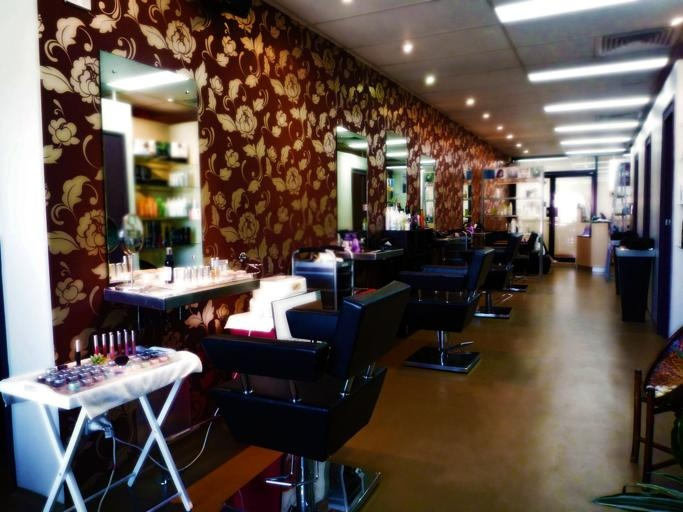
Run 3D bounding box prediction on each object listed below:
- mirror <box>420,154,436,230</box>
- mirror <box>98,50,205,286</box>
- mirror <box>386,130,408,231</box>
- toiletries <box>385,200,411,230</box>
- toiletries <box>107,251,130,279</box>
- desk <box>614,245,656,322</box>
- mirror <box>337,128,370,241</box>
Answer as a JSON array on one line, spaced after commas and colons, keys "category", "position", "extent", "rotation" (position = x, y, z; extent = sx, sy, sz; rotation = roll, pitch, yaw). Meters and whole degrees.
[{"category": "mirror", "position": [1.368, -0.976, 8.209], "extent": [0.098, 1.264, 0.273], "rotation": [-18, 26, -29]}, {"category": "mirror", "position": [-1.342, -0.520, 3.858], "extent": [0.821, 1.840, 0.028], "rotation": [-6, 43, -24]}, {"category": "mirror", "position": [0.724, -0.987, 6.908], "extent": [0.021, 1.846, 1.264], "rotation": [2, 3, 20]}, {"category": "toiletries", "position": [0.774, -0.492, 6.736], "extent": [0.334, 0.426, 0.288], "rotation": [3, 5, 28]}, {"category": "toiletries", "position": [-1.484, 0.066, 3.558], "extent": [0.135, 0.228, 0.154], "rotation": [2, 6, 19]}, {"category": "desk", "position": [3.817, 0.358, 6.743], "extent": [0.317, 0.823, 0.832], "rotation": [-1, 7, 19]}, {"category": "mirror", "position": [0.123, -0.813, 5.950], "extent": [0.076, 1.628, 1.102], "rotation": [3, 7, 21]}]
